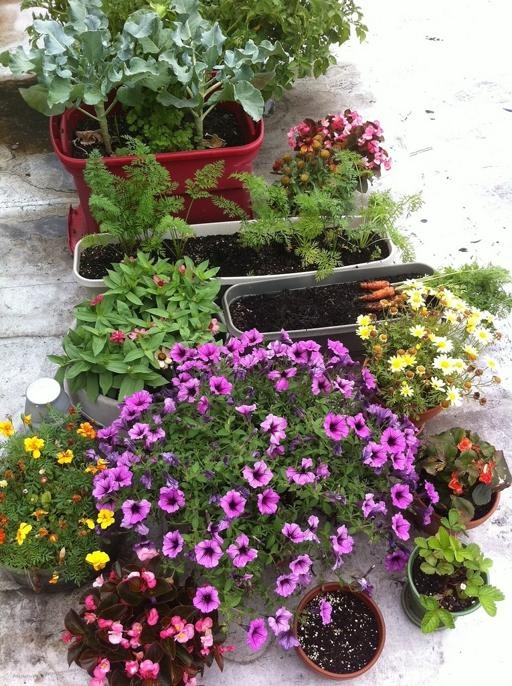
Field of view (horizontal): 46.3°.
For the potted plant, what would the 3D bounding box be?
[{"bbox_3d":[-0.504,-1.039,3.015,1.611,1.078,0.944,-2,73,-15],"label":"potted plant"}]
